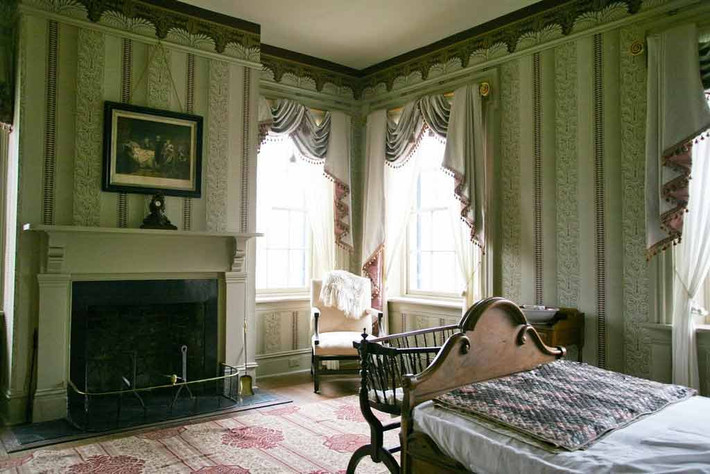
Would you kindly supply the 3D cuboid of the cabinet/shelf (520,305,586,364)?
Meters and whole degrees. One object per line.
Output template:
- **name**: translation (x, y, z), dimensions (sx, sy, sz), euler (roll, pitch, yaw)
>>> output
- **cabinet/shelf**: translation (1.923, 0.993, 5.270), dimensions (0.400, 0.557, 0.528), euler (-6, 7, -21)

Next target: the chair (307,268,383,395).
- **chair**: translation (-0.133, 1.047, 6.082), dimensions (0.889, 1.251, 0.869), euler (0, 2, -31)
